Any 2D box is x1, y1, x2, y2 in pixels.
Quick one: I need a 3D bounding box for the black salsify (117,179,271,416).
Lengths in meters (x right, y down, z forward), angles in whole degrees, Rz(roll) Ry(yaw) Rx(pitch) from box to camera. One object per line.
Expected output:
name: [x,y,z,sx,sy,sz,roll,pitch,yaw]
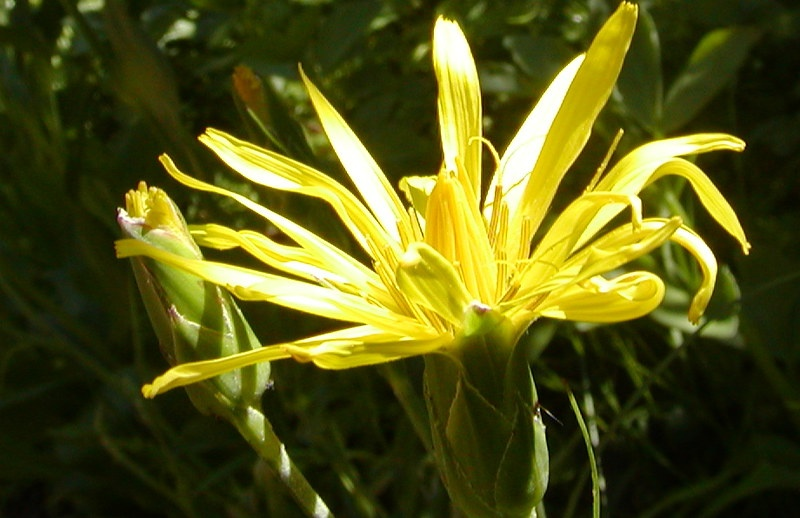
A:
black salsify: [-0.177,0.051,0.755,0.083,0.250,0.076,-11,24,2]
